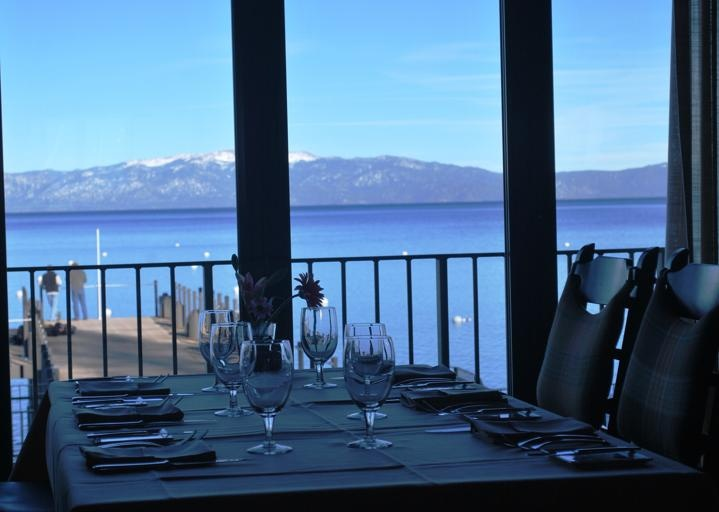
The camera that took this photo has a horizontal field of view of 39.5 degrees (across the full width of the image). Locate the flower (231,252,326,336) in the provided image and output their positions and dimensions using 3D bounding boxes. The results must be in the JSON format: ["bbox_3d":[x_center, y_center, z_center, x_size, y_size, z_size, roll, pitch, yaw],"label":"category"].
[{"bbox_3d":[-0.438,0.226,5.401,0.491,0.442,0.344,7,7,11],"label":"flower"}]
